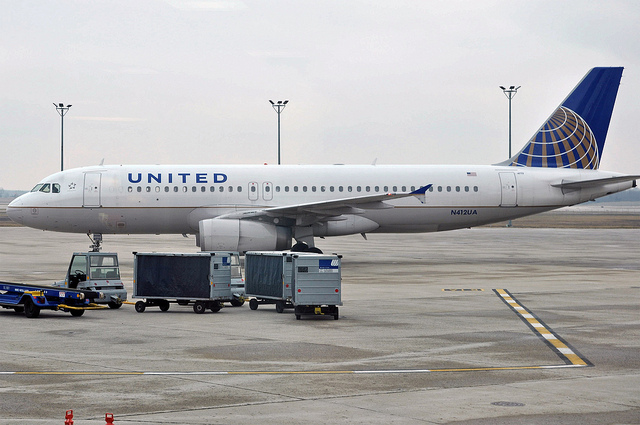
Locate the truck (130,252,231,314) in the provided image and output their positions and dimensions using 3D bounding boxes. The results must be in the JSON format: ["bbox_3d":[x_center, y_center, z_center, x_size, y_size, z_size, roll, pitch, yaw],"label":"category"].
[{"bbox_3d":[-4.901,2.369,32.920,3.926,1.748,1.806,0,-2,9],"label":"truck"}]

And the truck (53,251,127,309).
[{"bbox_3d":[-7.973,2.441,32.713,1.892,2.039,1.287,4,10,25],"label":"truck"}]

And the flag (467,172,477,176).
[{"bbox_3d":[7.903,-2.013,48.273,0.480,0.159,0.117,-1,9,-9],"label":"flag"}]
